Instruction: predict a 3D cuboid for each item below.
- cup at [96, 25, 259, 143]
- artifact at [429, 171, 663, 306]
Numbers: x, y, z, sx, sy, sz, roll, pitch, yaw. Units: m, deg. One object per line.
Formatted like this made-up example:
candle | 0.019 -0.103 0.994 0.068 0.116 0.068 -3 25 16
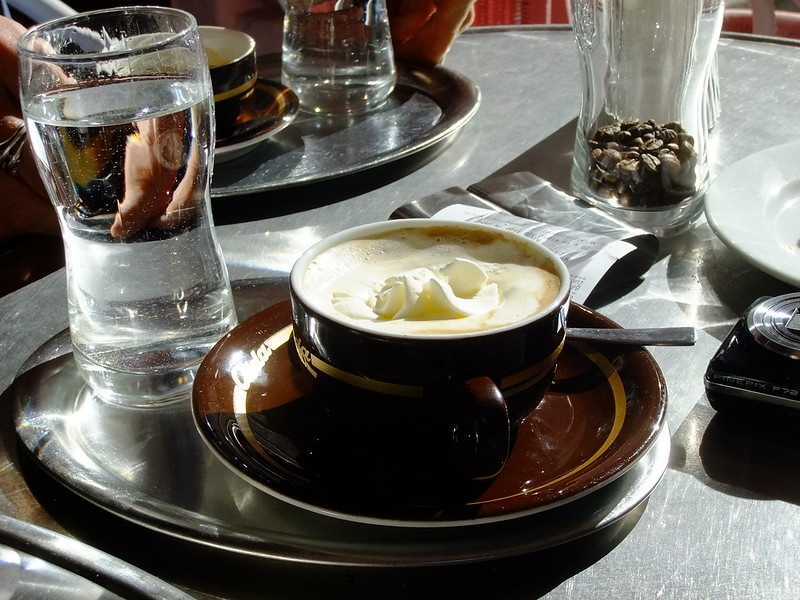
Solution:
cup | -0.209 -0.226 0.637 0.124 0.094 0.126 3 42 -3
artifact | 0.121 -0.058 0.511 0.106 0.038 0.129 -13 35 -30
